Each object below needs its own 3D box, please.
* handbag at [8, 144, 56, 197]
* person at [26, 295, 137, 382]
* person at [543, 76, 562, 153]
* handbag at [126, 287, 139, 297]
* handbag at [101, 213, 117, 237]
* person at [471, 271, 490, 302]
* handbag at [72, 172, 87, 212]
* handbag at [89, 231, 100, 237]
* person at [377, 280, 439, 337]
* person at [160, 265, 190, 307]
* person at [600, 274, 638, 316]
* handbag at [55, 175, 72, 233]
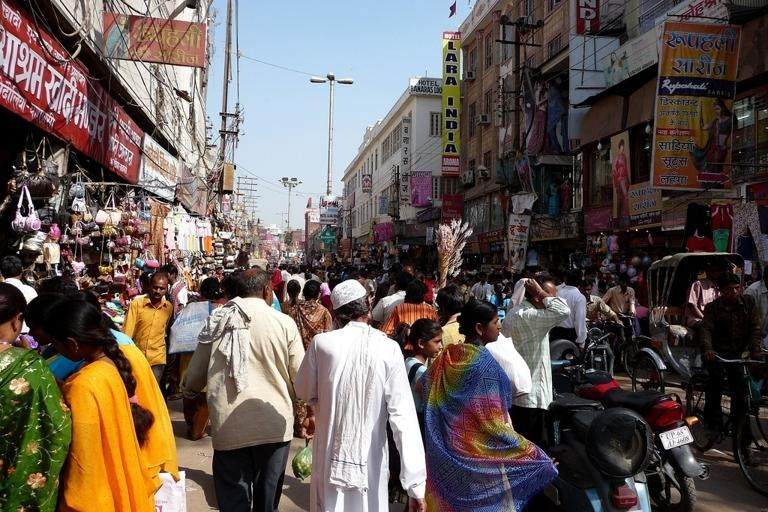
[{"bbox_3d":[-4.868,-1.147,8.445,0.362,0.795,0.692,-8,-8,29],"label":"handbag"},{"bbox_3d":[-2.428,0.590,4.835,0.676,0.626,0.741,-18,-13,-8],"label":"person"},{"bbox_3d":[5.690,-4.554,20.497,0.558,2.213,0.565,1,-8,5],"label":"person"},{"bbox_3d":[-4.221,0.614,10.301,0.141,0.146,0.155,0,-18,-1],"label":"handbag"},{"bbox_3d":[-4.263,-0.486,9.508,0.270,0.407,0.209,2,-8,-11],"label":"handbag"},{"bbox_3d":[2.381,0.768,15.157,0.447,0.989,0.313,1,-8,5],"label":"person"},{"bbox_3d":[-4.620,-0.882,9.297,0.243,0.511,0.309,6,-10,-29],"label":"handbag"},{"bbox_3d":[-4.459,-0.328,9.489,0.130,0.086,0.096,-4,0,-27],"label":"handbag"},{"bbox_3d":[0.277,0.675,7.777,0.515,1.163,0.346,6,0,-2],"label":"person"},{"bbox_3d":[-3.184,0.473,9.325,0.279,0.895,0.490,-4,5,5],"label":"person"},{"bbox_3d":[4.670,0.864,12.180,0.623,0.968,0.483,0,-36,25],"label":"person"},{"bbox_3d":[-4.802,-0.758,9.259,0.207,0.910,0.309,7,-10,-35],"label":"handbag"}]
